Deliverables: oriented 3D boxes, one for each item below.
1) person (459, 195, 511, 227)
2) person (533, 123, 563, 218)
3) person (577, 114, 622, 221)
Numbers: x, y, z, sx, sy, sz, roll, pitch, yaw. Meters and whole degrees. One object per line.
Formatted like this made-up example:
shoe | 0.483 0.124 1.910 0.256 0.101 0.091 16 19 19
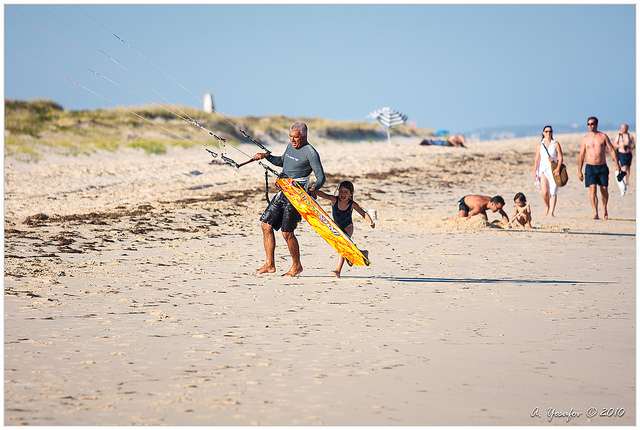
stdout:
person | 3.234 -0.132 16.351 0.648 0.566 1.157 -7 12 -36
person | 4.634 -0.847 16.708 0.538 1.822 0.690 -5 4 -31
person | 5.724 -0.935 16.873 0.843 2.112 1.614 4 11 19
